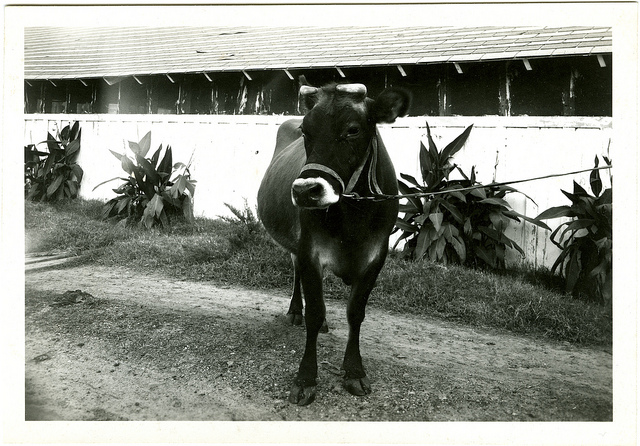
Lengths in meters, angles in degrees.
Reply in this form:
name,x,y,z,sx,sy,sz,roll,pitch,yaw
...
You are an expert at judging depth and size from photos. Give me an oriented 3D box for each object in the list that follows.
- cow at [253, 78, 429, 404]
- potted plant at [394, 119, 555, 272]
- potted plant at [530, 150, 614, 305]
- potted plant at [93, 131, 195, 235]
name,x,y,z,sx,sy,sz,roll,pitch,yaw
cow,0.079,0.083,7.050,1.491,2.944,2.238,4,6,-5
potted plant,1.679,-0.260,8.359,1.527,1.274,1.624,13,-13,8
potted plant,3.009,0.006,7.696,0.748,1.657,1.061,0,8,-37
potted plant,-2.378,-0.650,9.210,1.311,1.053,1.367,-10,5,-29
